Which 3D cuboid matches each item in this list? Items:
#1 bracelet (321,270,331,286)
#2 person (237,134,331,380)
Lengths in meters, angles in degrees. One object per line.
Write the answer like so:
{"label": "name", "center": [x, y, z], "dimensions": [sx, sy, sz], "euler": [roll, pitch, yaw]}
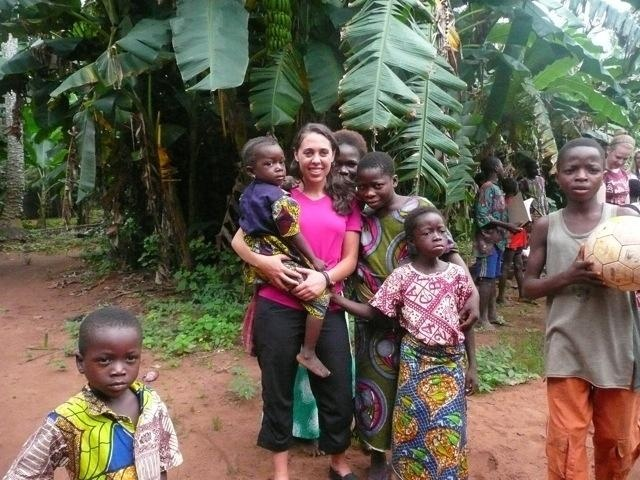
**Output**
{"label": "bracelet", "center": [0.055, 0.270, 4.213], "dimensions": [0.033, 0.094, 0.083], "euler": [-19, 42, 0]}
{"label": "person", "center": [-0.264, 0.128, 4.317], "dimensions": [0.347, 1.798, 0.682], "euler": [-16, 17, -42]}
